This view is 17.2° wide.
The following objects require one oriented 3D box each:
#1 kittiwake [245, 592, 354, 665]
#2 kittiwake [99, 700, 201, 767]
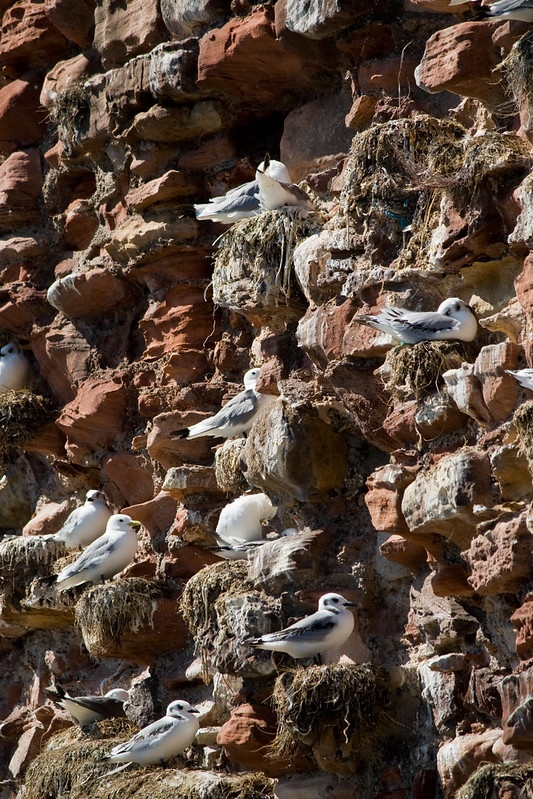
[{"bbox_3d":[0.200,1.306,10.150,0.601,0.369,0.322,-7,-11,1],"label":"kittiwake"},{"bbox_3d":[-0.692,2.134,11.223,0.610,0.335,0.394,-15,65,9],"label":"kittiwake"}]
